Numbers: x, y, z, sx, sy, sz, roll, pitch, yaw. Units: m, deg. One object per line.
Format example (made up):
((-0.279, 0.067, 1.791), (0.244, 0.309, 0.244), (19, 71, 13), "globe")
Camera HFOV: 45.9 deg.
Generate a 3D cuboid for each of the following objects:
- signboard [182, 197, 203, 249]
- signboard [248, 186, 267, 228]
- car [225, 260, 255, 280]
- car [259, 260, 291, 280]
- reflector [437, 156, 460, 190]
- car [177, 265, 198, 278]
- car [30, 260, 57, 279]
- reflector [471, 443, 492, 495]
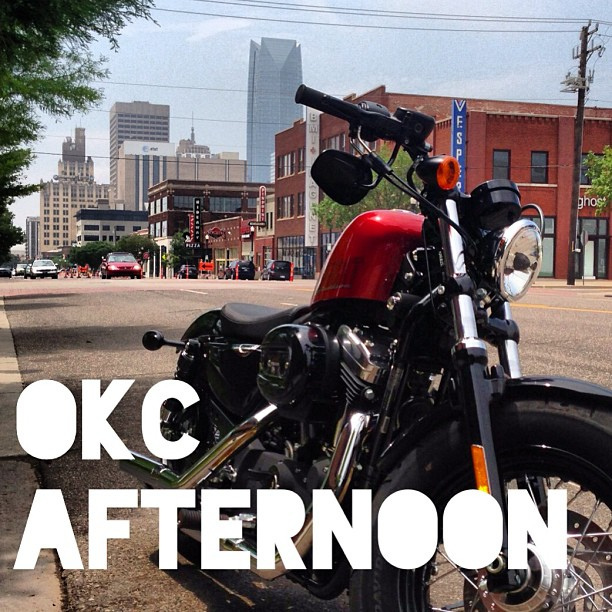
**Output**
((-16.522, -10.327, 103.902), (2.615, 7.780, 3.559), (-4, -13, 5), "signboard")
((-5.494, -10.143, 81.312), (2.418, 4.347, 1.064), (4, 7, 23), "signboard")
((-5.556, -2.341, 59.825), (1.383, 1.223, 3.014), (-1, 6, -19), "car")
((-2.306, -2.082, 53.427), (1.234, 1.028, 2.059), (-1, 8, -16), "car")
((0.412, -0.356, 2.109), (0.089, 0.106, 0.044), (-4, 7, -9), "reflector")
((-10.868, -2.437, 65.857), (1.402, 1.192, 3.189), (1, 6, -22), "car")
((-21.349, -2.320, 57.950), (1.813, 1.192, 2.681), (-2, 4, -22), "car")
((0.447, 0.416, 1.849), (0.011, 0.119, 0.061), (-3, 4, -38), "reflector")
